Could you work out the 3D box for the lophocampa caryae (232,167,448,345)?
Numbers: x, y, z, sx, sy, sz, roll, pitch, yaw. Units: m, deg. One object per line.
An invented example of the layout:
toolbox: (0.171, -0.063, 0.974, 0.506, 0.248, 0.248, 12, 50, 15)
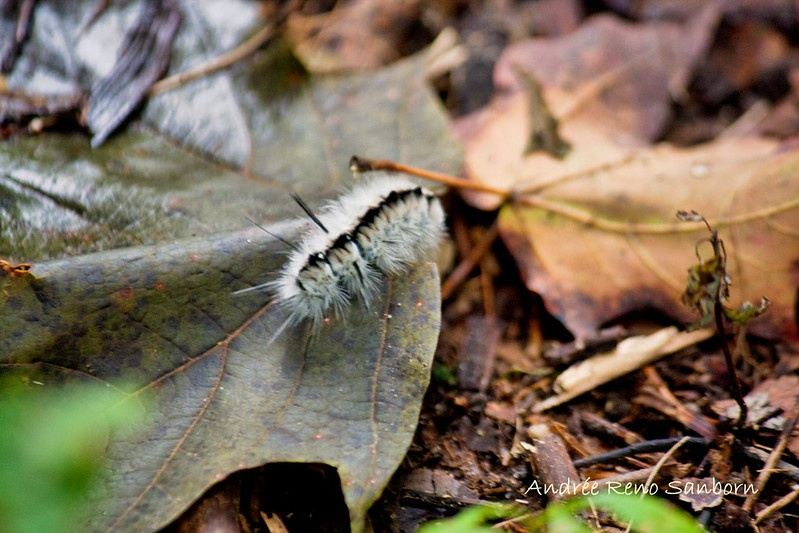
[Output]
lophocampa caryae: (-0.251, -0.065, 5.240, 0.736, 0.887, 1.322, 24, 25, 31)
